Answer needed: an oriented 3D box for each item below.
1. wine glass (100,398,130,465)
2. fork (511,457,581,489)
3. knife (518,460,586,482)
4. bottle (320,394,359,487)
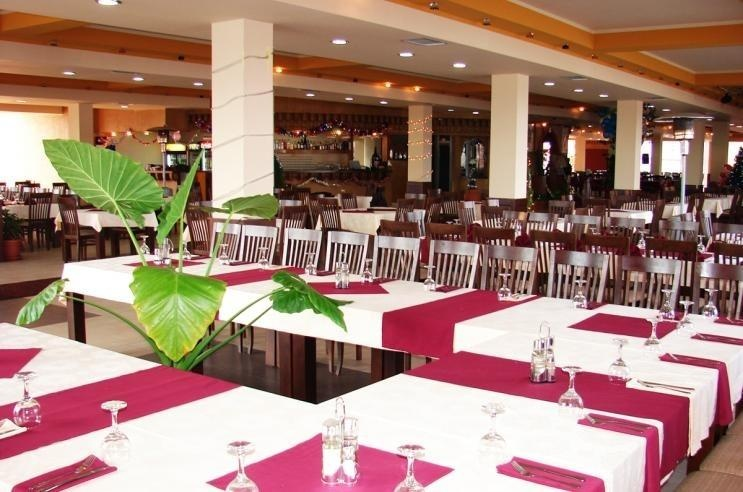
[{"bbox_3d":[-0.834,0.593,1.630,0.080,0.186,0.141,-6,12,-28],"label":"wine glass"},{"bbox_3d":[0.534,0.683,1.538,0.163,0.022,0.064,1,8,36],"label":"fork"},{"bbox_3d":[0.548,0.693,1.542,0.200,0.014,0.066,3,11,39],"label":"knife"},{"bbox_3d":[-0.092,0.591,1.461,0.105,0.202,0.049,-2,11,-8],"label":"bottle"}]
